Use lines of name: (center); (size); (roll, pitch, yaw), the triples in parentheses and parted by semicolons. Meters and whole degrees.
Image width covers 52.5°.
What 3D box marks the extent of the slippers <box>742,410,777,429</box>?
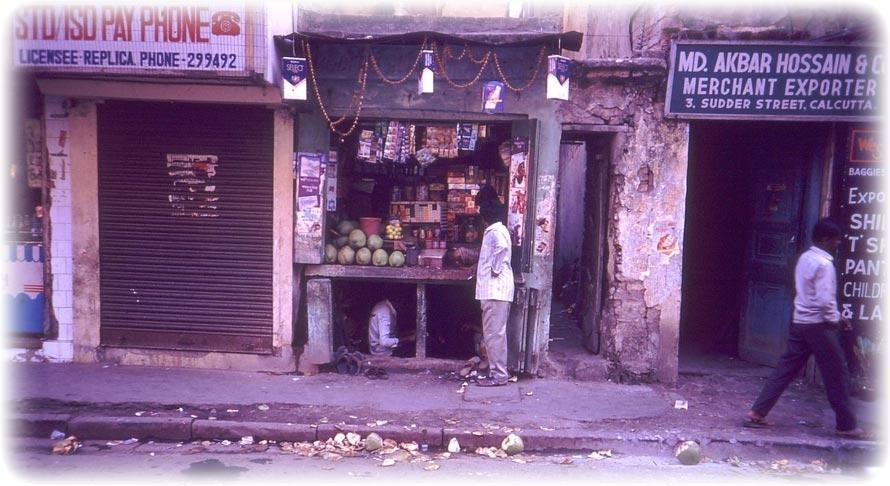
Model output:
slippers: (5.280, 2.989, 15.366); (0.624, 0.240, 0.207); (-1, 2, -2)

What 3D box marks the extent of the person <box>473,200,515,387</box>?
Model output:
person: (0.882, 0.898, 16.333); (0.643, 3.283, 0.433); (0, 8, 2)

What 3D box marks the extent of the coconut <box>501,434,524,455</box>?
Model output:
coconut: (1.124, 3.303, 14.979); (0.373, 0.260, 0.279); (0, -3, -36)

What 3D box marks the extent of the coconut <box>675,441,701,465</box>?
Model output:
coconut: (4.016, 3.419, 14.914); (0.375, 0.263, 0.376); (6, -7, -36)

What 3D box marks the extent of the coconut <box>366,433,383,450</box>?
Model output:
coconut: (-1.180, 3.267, 14.952); (0.277, 0.249, 0.147); (-25, 13, 11)
